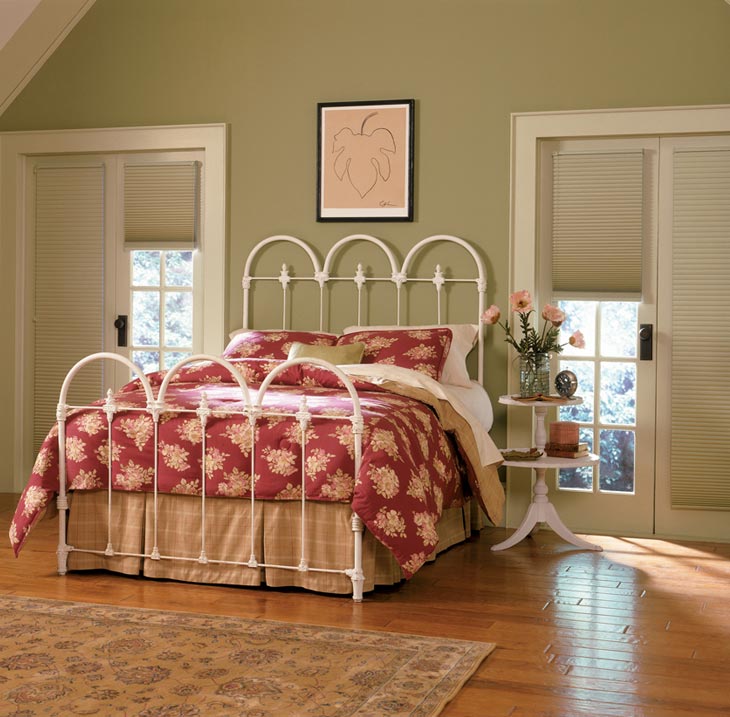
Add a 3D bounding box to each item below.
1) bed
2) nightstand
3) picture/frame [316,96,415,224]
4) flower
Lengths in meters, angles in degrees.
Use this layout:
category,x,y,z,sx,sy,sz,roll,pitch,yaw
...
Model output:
category,x,y,z,sx,sy,sz,roll,pitch,yaw
bed,-0.148,0.166,3.440,1.454,0.898,1.386,1,3,22
nightstand,0.899,0.536,3.852,0.503,0.711,0.620,2,-2,11
picture/frame,0.027,-1.111,4.340,0.846,0.832,0.060,1,3,15
flower,0.880,-0.069,3.937,0.575,0.512,0.537,-1,-3,24
